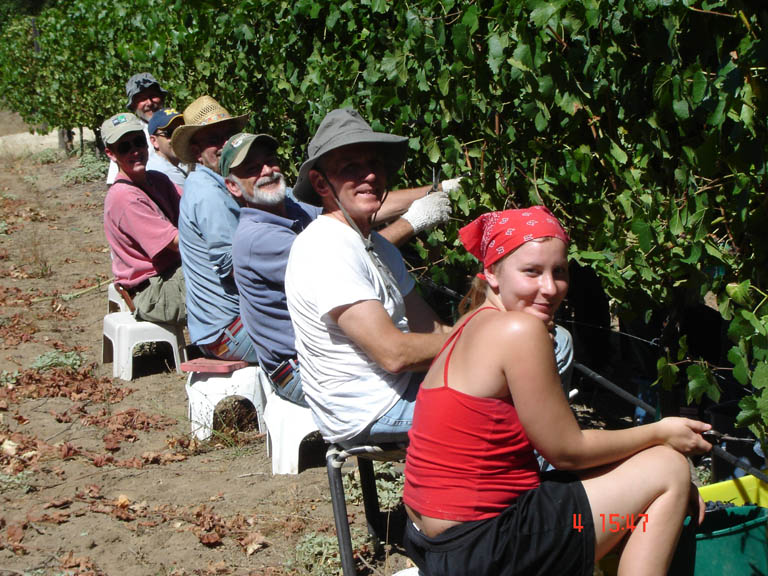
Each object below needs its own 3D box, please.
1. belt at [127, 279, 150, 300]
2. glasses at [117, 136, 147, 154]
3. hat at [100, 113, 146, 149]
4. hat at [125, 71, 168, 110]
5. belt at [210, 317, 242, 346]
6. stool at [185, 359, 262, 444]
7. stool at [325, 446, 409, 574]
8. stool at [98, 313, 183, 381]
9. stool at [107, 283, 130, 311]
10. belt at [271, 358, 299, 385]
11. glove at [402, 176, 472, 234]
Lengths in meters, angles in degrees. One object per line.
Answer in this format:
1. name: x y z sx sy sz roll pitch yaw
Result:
1. belt: -2.204 -0.002 6.391 0.159 0.048 0.171 -37 -9 23
2. glasses: -2.215 -1.237 6.226 0.260 0.148 0.077 -6 6 -29
3. hat: -2.366 -1.412 6.359 0.313 0.213 0.412 -17 5 -17
4. hat: -2.640 -2.216 7.858 0.415 0.225 0.378 -22 -13 -42
5. belt: -1.145 0.311 5.180 0.238 0.063 0.026 -45 -13 16
6. stool: -1.162 0.833 5.202 0.536 0.519 0.568 -2 -7 3
7. stool: -0.075 1.028 3.433 0.345 0.770 0.811 -3 5 0
8. stool: -2.290 0.448 6.560 0.650 0.481 0.660 1 2 -24
9. stool: -2.572 0.083 6.908 0.174 0.250 0.184 -11 -27 24
10. belt: -0.594 0.496 4.238 0.189 0.120 0.058 -49 11 25
11. glove: 0.248 -0.425 3.834 0.484 0.163 0.150 -36 -25 -30
